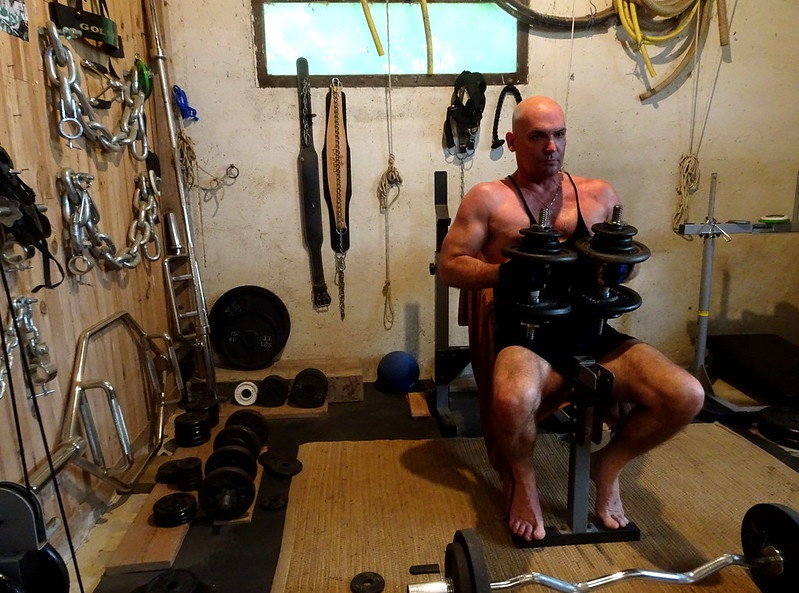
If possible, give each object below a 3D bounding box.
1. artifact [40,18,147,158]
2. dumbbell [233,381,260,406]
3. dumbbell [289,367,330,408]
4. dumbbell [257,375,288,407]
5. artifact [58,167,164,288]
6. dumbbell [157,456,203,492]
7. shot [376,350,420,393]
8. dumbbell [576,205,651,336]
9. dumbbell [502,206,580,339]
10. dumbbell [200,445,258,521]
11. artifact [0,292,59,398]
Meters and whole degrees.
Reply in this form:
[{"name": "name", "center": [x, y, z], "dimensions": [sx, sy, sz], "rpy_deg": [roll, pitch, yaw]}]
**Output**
[{"name": "artifact", "center": [-1.464, -0.929, 2.991], "dimensions": [0.106, 0.410, 0.438], "rpy_deg": [-4, 0, 12]}, {"name": "dumbbell", "center": [-0.937, 0.591, 3.827], "dimensions": [0.139, 0.138, 0.075], "rpy_deg": [-5, 20, -14]}, {"name": "dumbbell", "center": [-0.552, 0.552, 3.803], "dimensions": [0.250, 0.219, 0.141], "rpy_deg": [-3, 19, -10]}, {"name": "dumbbell", "center": [-0.769, 0.567, 3.818], "dimensions": [0.209, 0.184, 0.128], "rpy_deg": [-6, 20, -17]}, {"name": "artifact", "center": [-1.459, -0.341, 2.996], "dimensions": [0.136, 0.469, 0.508], "rpy_deg": [1, 3, 37]}, {"name": "dumbbell", "center": [-1.061, 0.850, 3.061], "dimensions": [0.228, 0.102, 0.129], "rpy_deg": [5, 9, 31]}, {"name": "shot", "center": [-0.024, 0.485, 4.071], "dimensions": [0.287, 0.263, 0.215], "rpy_deg": [1, 19, 4]}, {"name": "dumbbell", "center": [0.839, -0.067, 2.525], "dimensions": [0.272, 0.593, 0.345], "rpy_deg": [5, 20, 14]}, {"name": "dumbbell", "center": [0.565, -0.064, 2.553], "dimensions": [0.305, 0.586, 0.406], "rpy_deg": [3, 19, 9]}, {"name": "dumbbell", "center": [-0.794, 0.867, 2.904], "dimensions": [0.257, 0.291, 0.224], "rpy_deg": [-5, 19, -14]}, {"name": "artifact", "center": [-1.485, 0.191, 2.496], "dimensions": [0.233, 0.341, 0.118], "rpy_deg": [-4, 9, -23]}]
